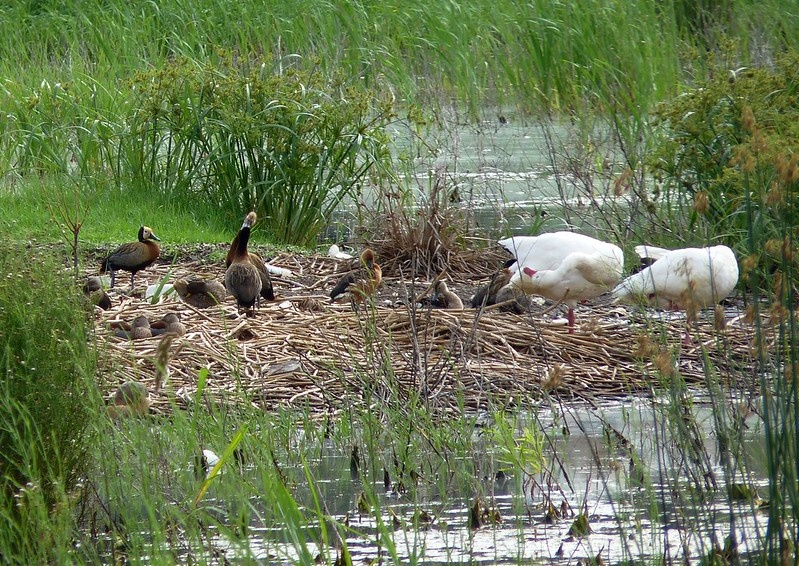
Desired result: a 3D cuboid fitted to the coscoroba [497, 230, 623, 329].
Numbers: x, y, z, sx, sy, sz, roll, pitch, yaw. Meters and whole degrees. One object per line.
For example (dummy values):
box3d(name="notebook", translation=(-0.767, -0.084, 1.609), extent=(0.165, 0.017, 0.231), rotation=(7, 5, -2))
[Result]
box3d(name="coscoroba", translation=(1.186, 0.090, 7.794), extent=(0.755, 0.330, 0.540), rotation=(9, 39, 2))
